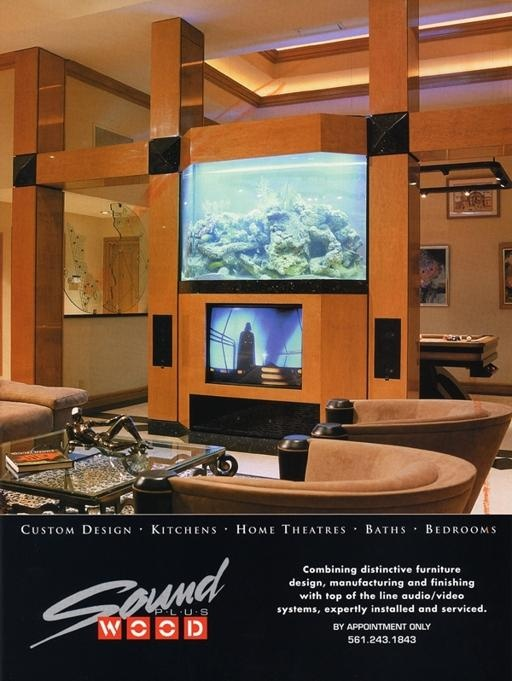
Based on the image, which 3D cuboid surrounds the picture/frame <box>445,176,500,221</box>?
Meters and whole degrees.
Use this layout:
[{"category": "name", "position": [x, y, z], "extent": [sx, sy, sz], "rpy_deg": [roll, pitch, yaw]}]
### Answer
[{"category": "picture/frame", "position": [2.702, -1.777, 7.627], "extent": [0.606, 0.497, 0.044], "rpy_deg": [3, 7, 27]}]

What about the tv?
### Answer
[{"category": "tv", "position": [0.148, 0.045, 4.928], "extent": [1.081, 0.740, 0.562], "rpy_deg": [1, 1, 41]}]

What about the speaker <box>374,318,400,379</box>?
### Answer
[{"category": "speaker", "position": [0.945, 0.075, 4.445], "extent": [0.257, 0.589, 0.077], "rpy_deg": [2, -26, 9]}]

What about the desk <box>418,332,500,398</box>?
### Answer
[{"category": "desk", "position": [2.047, 0.232, 6.293], "extent": [0.632, 0.483, 0.818], "rpy_deg": [2, 5, 23]}]
